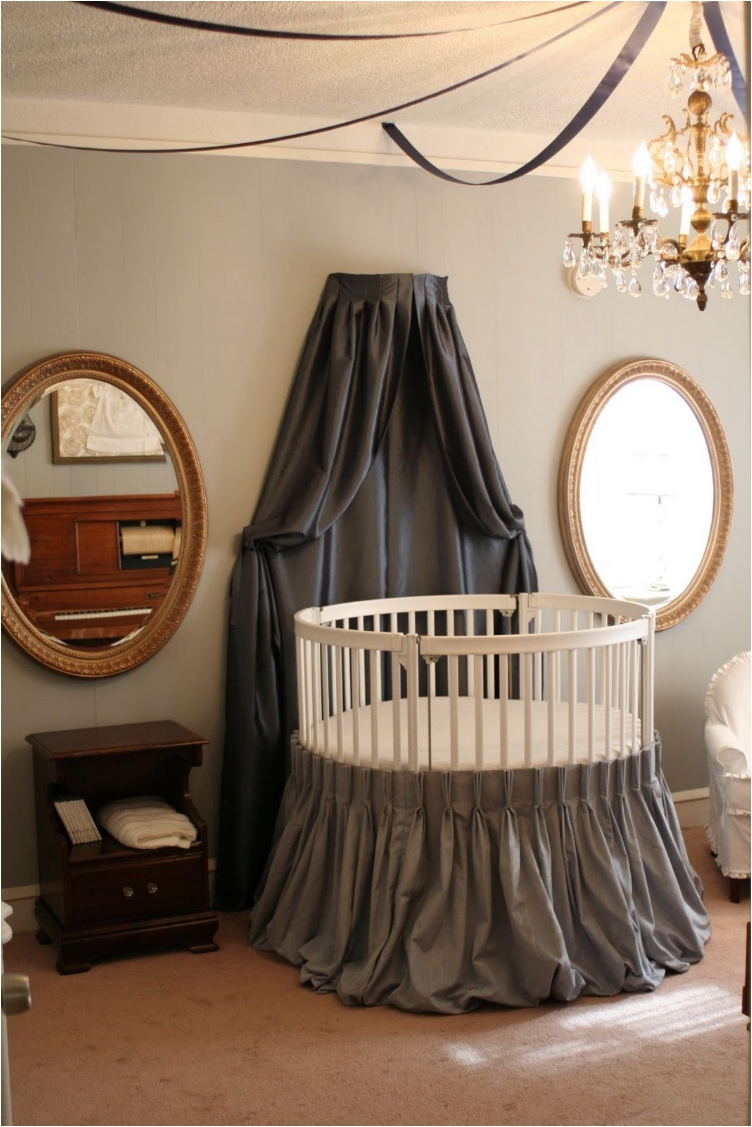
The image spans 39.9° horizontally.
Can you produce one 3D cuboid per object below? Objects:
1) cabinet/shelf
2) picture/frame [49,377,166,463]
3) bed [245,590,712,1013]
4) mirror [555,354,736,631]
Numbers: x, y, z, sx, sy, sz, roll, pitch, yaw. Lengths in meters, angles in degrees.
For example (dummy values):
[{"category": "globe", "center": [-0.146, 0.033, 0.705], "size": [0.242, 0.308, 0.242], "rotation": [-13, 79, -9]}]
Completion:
[{"category": "cabinet/shelf", "center": [-0.746, 0.798, 3.029], "size": [0.490, 0.607, 0.460], "rotation": [-2, 2, -22]}, {"category": "picture/frame", "center": [-0.840, -0.445, 3.181], "size": [0.252, 0.200, 0.007], "rotation": [4, -9, -34]}, {"category": "bed", "center": [0.240, 0.644, 2.888], "size": [1.197, 0.912, 0.977], "rotation": [0, 2, -14]}, {"category": "mirror", "center": [1.002, -0.290, 3.987], "size": [0.988, 1.361, 0.081], "rotation": [1, -2, -37]}]
